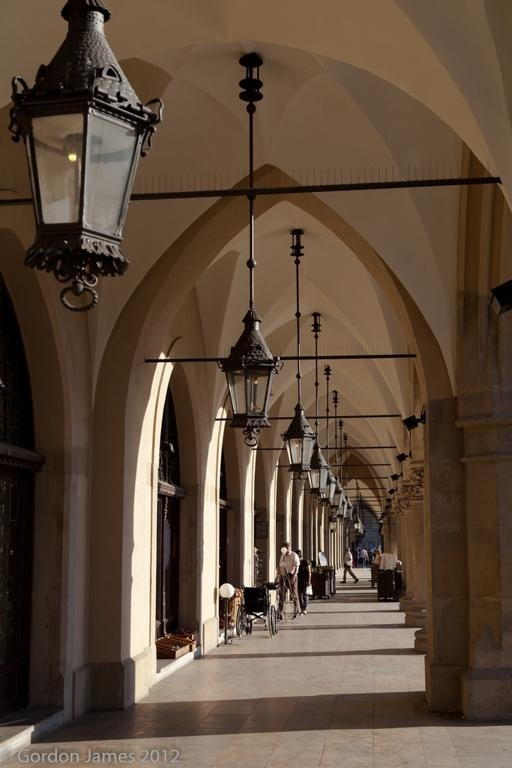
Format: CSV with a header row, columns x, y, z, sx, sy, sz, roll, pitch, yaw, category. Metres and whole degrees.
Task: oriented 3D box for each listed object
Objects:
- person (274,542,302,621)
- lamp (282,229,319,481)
x,y,z,sx,sy,sz,roll,pitch,yaw,category
0.653,4.007,19.398,0.312,1.670,0.397,-2,13,3,person
0.470,-0.398,10.532,0.317,2.730,0.382,-1,-4,10,lamp
